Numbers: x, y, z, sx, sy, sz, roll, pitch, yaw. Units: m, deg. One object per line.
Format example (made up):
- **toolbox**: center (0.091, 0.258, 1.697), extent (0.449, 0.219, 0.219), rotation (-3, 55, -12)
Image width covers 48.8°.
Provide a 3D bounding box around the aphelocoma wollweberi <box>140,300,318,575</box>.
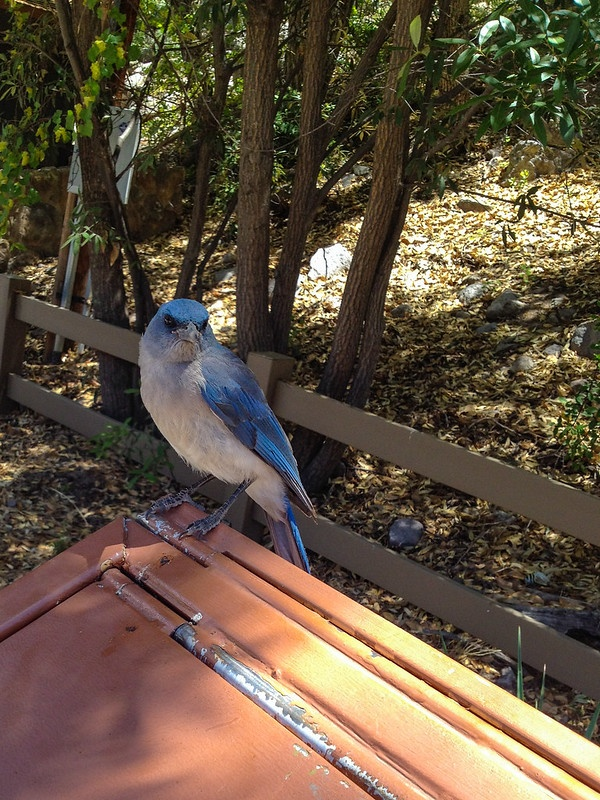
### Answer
- **aphelocoma wollweberi**: center (-0.272, 0.125, 2.561), extent (0.757, 0.969, 0.519), rotation (8, 6, -14)
